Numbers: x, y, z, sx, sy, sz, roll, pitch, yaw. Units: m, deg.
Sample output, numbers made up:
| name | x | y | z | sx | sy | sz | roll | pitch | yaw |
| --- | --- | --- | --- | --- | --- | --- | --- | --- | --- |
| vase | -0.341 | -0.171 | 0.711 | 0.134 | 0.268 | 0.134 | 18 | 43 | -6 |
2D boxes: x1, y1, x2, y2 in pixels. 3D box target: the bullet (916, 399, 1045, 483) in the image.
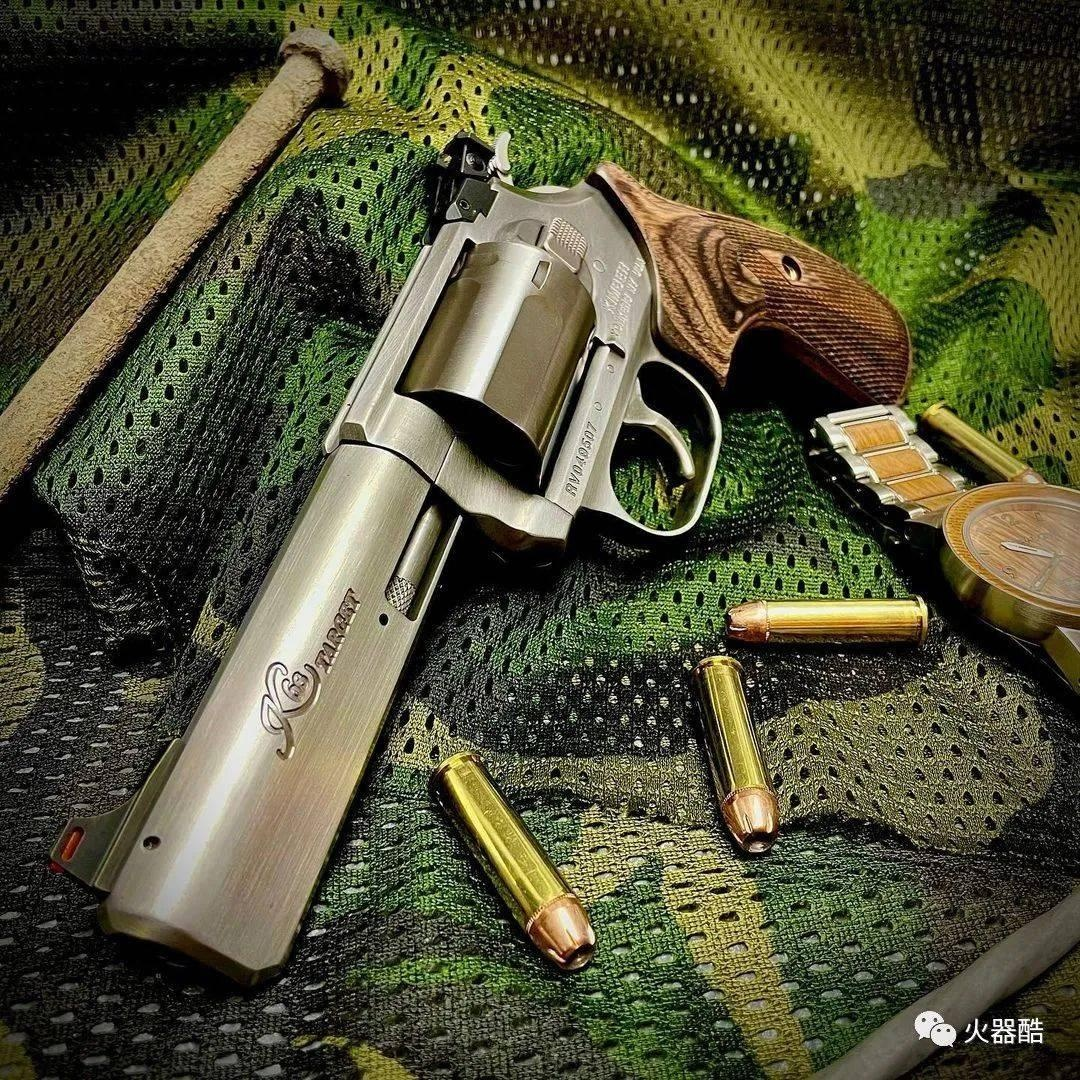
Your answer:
| name | x | y | z | sx | sy | sz | roll | pitch | yaw |
| --- | --- | --- | --- | --- | --- | --- | --- | --- | --- |
| bullet | 0.603 | -0.135 | 1.467 | 0.031 | 0.036 | 0.133 | -26 | 55 | -17 |
